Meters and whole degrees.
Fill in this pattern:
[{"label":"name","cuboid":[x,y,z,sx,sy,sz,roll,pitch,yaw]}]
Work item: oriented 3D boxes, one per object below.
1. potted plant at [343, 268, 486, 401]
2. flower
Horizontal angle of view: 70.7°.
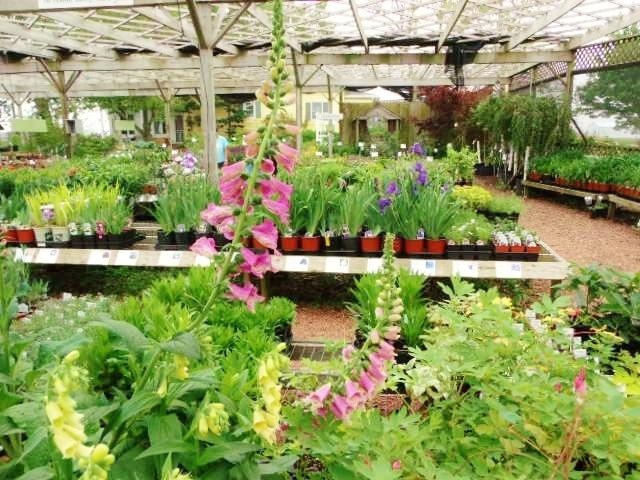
[{"label":"potted plant","cuboid":[0.602,0.549,2.937,0.876,0.470,0.884,1,-1,8]},{"label":"flower","cuboid":[0.908,-0.348,4.587,1.049,1.117,0.947,2,-2,-36]}]
